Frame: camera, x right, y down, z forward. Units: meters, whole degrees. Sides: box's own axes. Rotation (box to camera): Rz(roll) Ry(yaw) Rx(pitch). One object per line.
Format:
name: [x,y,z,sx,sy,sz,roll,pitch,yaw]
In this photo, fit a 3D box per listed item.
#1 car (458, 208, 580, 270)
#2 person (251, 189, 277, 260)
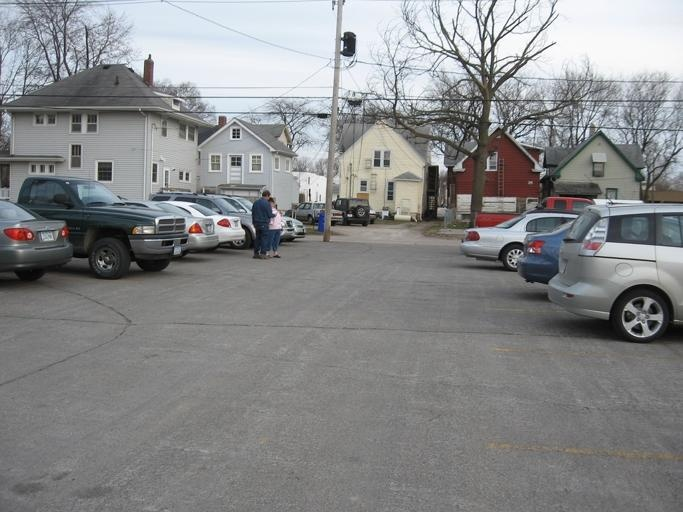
car: [5.090,-0.524,16.707,2.959,1.079,1.317,-2,4,3]
person: [-2.567,-1.054,19.093,0.694,2.261,1.054,-1,6,-9]
